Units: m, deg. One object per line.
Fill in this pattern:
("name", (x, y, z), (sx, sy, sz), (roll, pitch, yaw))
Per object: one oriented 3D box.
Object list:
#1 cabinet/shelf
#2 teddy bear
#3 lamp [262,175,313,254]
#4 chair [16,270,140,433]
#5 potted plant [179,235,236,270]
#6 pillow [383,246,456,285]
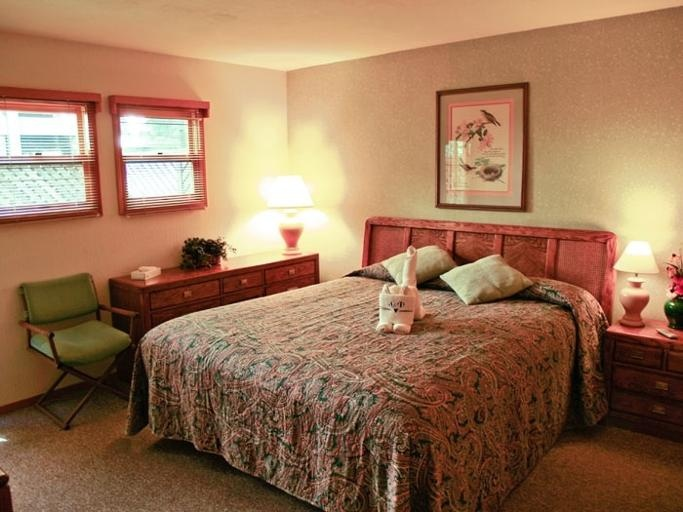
("cabinet/shelf", (-1.212, 0.521, 5.355), (0.655, 0.920, 2.181), (14, 18, 42))
("teddy bear", (0.427, 0.236, 3.566), (0.384, 0.474, 0.511), (9, 27, 22))
("lamp", (-0.624, -0.454, 5.937), (0.737, 0.806, 0.670), (-3, -1, 18))
("chair", (-2.246, 0.763, 4.263), (0.927, 0.998, 0.829), (8, 16, 16))
("potted plant", (-1.443, -0.036, 5.165), (0.416, 0.235, 0.407), (-8, 12, -40))
("pillow", (0.711, 0.075, 4.586), (0.471, 0.123, 0.437), (-13, 17, 15))
